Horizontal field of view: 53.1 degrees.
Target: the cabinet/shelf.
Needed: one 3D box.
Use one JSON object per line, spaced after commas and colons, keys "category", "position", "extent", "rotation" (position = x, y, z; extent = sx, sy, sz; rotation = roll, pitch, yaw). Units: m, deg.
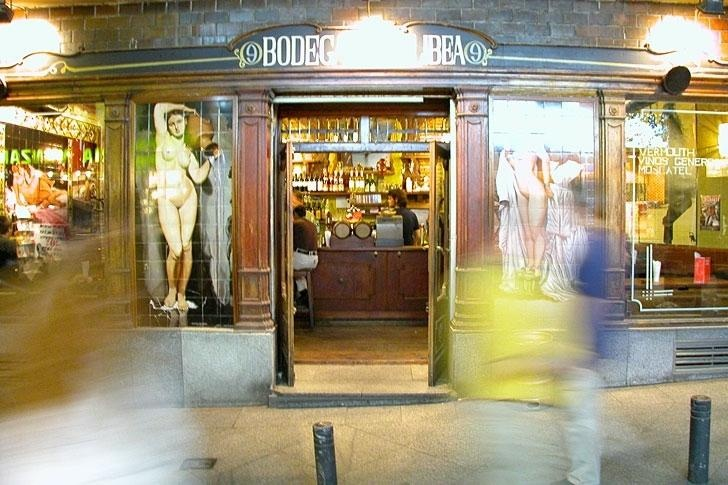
{"category": "cabinet/shelf", "position": [0.011, -0.065, 13.617], "extent": [2.611, 2.983, 1.450], "rotation": [0, -4, -1]}
